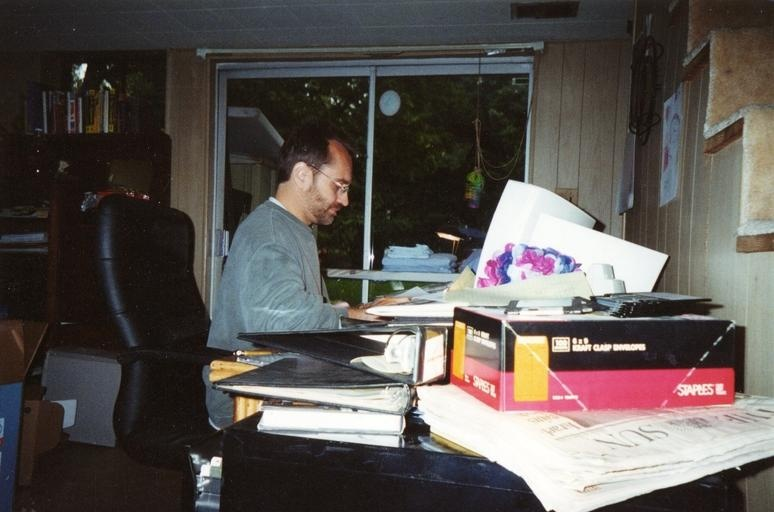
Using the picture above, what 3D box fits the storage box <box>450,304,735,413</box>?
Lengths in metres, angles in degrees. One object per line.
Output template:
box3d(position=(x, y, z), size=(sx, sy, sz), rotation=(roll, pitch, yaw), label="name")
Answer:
box3d(position=(0.758, 0.390, 2.758), size=(1.021, 0.365, 0.135), rotation=(3, 6, -2), label="storage box")

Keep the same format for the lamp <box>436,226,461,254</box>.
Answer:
box3d(position=(0.474, -0.123, 5.724), size=(0.179, 0.204, 0.200), rotation=(0, -11, 39), label="lamp")

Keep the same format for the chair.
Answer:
box3d(position=(-1.152, 0.333, 3.647), size=(0.556, 1.230, 0.760), rotation=(1, 6, -17), label="chair")
